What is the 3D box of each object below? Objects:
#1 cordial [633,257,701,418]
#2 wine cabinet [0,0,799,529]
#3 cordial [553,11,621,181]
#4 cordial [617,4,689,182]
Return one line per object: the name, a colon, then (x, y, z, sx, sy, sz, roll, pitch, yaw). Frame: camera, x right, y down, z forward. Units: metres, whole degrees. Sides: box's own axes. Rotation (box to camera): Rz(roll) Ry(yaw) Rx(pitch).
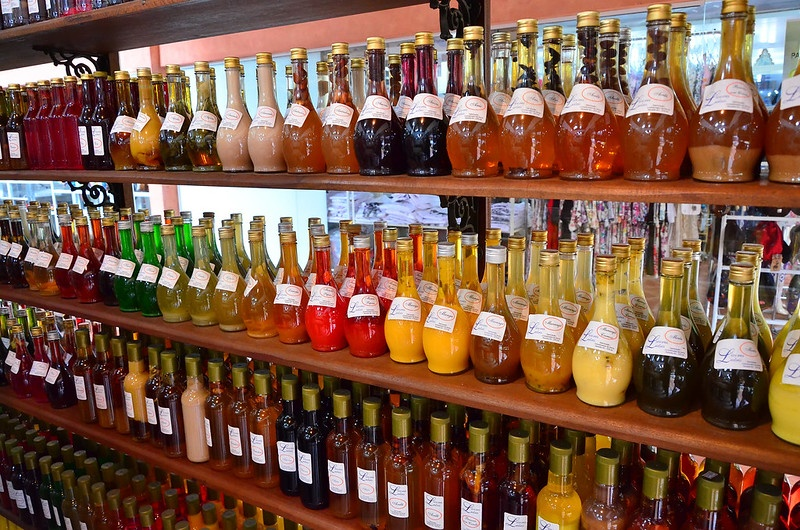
cordial: (0.741, 0.197, 1.741, 0.157, 0.434, 0.115, 0, 12, 25)
wine cabinet: (-0.111, 0.024, 2.152, 2.688, 0.972, 0.410, 3, 8, 32)
cordial: (0.517, -0.464, 1.732, 0.173, 0.449, 0.102, -2, 11, 15)
cordial: (0.686, -0.458, 1.672, 0.163, 0.458, 0.106, -10, 12, -24)
